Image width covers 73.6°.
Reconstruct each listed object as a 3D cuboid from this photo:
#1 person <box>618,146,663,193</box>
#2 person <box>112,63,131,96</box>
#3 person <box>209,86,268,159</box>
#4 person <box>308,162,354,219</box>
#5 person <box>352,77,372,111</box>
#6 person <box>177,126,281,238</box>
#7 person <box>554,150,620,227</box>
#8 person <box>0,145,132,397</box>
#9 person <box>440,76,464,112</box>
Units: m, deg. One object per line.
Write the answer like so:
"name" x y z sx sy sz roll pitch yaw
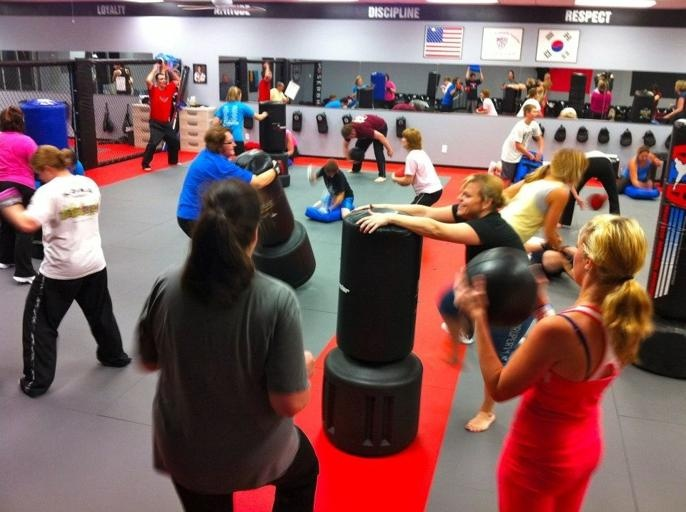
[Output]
"person" 6.326 -1.806 9.698 0.746 1.080 0.827 -36 37 -31
"person" -6.446 -5.152 13.452 0.472 0.805 0.603 -6 19 -25
"person" -2.497 -2.915 11.163 1.164 2.209 0.790 1 33 -14
"person" -0.255 -1.141 7.961 0.843 1.089 0.792 -7 26 -5
"person" 0.533 -4.877 12.913 0.602 1.108 0.625 3 47 2
"person" -1.338 -0.483 5.457 1.238 1.968 0.805 1 21 -12
"person" 3.648 -0.994 6.847 0.869 1.246 0.467 -3 32 26
"person" -2.271 0.120 3.703 0.496 1.960 0.781 11 19 26
"person" 2.932 -4.365 12.511 0.497 0.841 0.319 19 7 33
